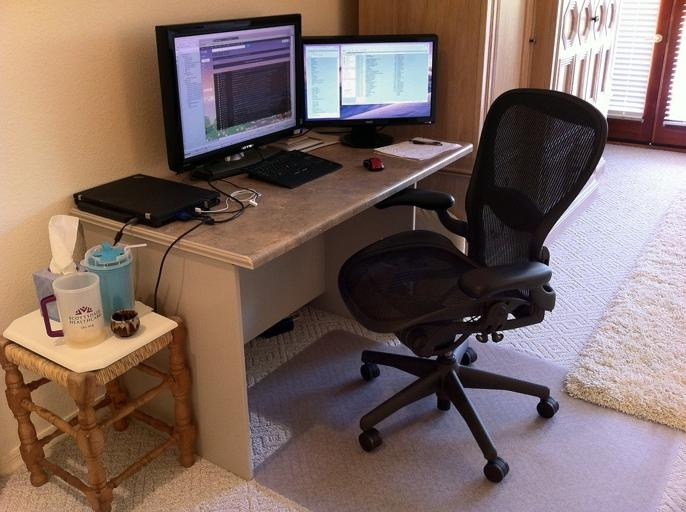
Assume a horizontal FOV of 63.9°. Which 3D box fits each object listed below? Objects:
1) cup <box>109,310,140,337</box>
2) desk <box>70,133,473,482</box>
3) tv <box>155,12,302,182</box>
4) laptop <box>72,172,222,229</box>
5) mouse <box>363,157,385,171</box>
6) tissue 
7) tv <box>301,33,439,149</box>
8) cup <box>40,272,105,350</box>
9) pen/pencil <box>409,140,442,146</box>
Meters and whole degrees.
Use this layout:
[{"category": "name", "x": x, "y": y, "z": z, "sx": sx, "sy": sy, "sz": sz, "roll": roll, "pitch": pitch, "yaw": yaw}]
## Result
[{"category": "cup", "x": -0.692, "y": 0.210, "z": 1.732, "sx": 0.083, "sy": 0.059, "sz": 0.082, "roll": 1, "pitch": 27, "yaw": -1}, {"category": "desk", "x": -0.184, "y": 0.178, "z": 2.321, "sx": 0.683, "sy": 0.767, "sz": 1.208, "roll": 12, "pitch": 19, "yaw": 33}, {"category": "tv", "x": -0.475, "y": -0.662, "z": 2.246, "sx": 0.204, "sy": 0.573, "sz": 0.689, "roll": 19, "pitch": 32, "yaw": 30}, {"category": "laptop", "x": -0.693, "y": -0.199, "z": 1.942, "sx": 0.444, "sy": 0.071, "sz": 0.286, "roll": 14, "pitch": 30, "yaw": 27}, {"category": "mouse", "x": 0.129, "y": -0.379, "z": 2.267, "sx": 0.050, "sy": 0.037, "sz": 0.082, "roll": -7, "pitch": 29, "yaw": -10}, {"category": "tissue ", "x": -0.954, "y": 0.034, "z": 1.847, "sx": 0.207, "sy": 0.313, "sz": 0.200, "roll": 4, "pitch": 10, "yaw": -2}, {"category": "tv", "x": 0.105, "y": -0.773, "z": 2.568, "sx": 0.676, "sy": 0.468, "sz": 0.228, "roll": -6, "pitch": 21, "yaw": -15}, {"category": "cup", "x": -0.833, "y": 0.189, "z": 1.687, "sx": 0.181, "sy": 0.173, "sz": 0.115, "roll": -11, "pitch": 9, "yaw": -27}, {"category": "pen/pencil", "x": 0.375, "y": -0.524, "z": 2.543, "sx": 0.119, "sy": 0.023, "sz": 0.022, "roll": 6, "pitch": 30, "yaw": 17}]
